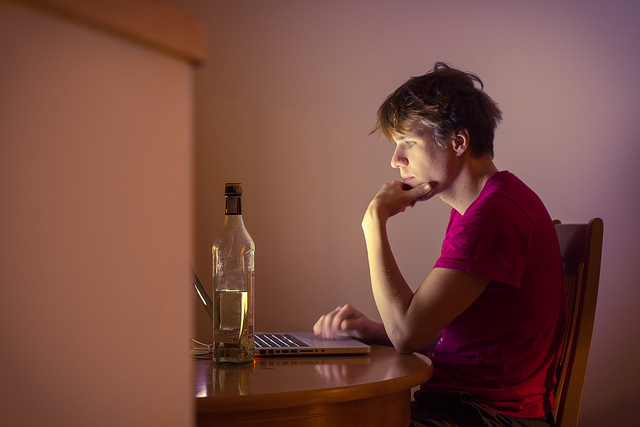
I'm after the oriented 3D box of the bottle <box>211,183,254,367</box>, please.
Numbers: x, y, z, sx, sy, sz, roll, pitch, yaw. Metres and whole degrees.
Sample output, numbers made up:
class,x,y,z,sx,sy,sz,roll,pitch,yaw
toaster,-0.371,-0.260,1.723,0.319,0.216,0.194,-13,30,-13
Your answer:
class,x,y,z,sx,sy,sz,roll,pitch,yaw
bottle,-0.146,0.109,0.848,0.078,0.275,0.180,-4,-13,-13

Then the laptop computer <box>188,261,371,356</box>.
class,x,y,z,sx,sy,sz,roll,pitch,yaw
laptop computer,-0.090,0.216,1.111,0.337,0.205,0.348,-6,-13,-11
